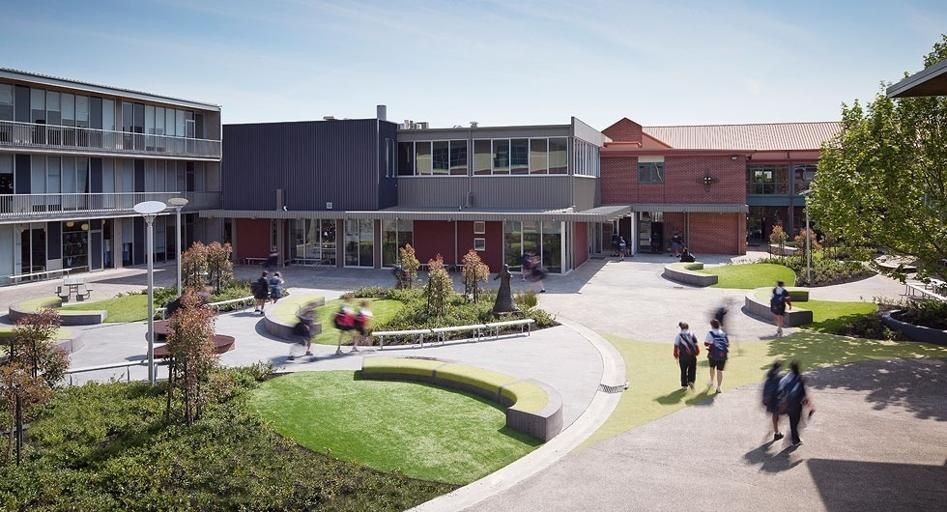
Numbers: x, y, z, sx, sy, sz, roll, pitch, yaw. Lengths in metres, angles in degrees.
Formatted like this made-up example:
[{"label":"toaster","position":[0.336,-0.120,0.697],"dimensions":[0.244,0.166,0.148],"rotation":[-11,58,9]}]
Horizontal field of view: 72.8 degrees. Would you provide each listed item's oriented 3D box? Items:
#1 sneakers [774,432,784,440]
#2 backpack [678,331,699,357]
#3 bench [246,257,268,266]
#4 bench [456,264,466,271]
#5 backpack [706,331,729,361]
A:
[{"label":"sneakers","position":[9.142,5.411,19.300],"dimensions":[0.368,0.230,0.129],"rotation":[-12,12,-43]},{"label":"backpack","position":[7.364,3.020,22.275],"dimensions":[0.675,0.853,0.332],"rotation":[-3,2,13]},{"label":"bench","position":[-15.065,0.380,44.940],"dimensions":[2.100,0.562,0.462],"rotation":[3,-3,10]},{"label":"bench","position":[-0.741,0.704,37.895],"dimensions":[0.641,0.542,0.433],"rotation":[-1,-6,14]},{"label":"backpack","position":[8.314,3.052,22.009],"dimensions":[0.699,0.996,0.339],"rotation":[-3,2,2]}]
